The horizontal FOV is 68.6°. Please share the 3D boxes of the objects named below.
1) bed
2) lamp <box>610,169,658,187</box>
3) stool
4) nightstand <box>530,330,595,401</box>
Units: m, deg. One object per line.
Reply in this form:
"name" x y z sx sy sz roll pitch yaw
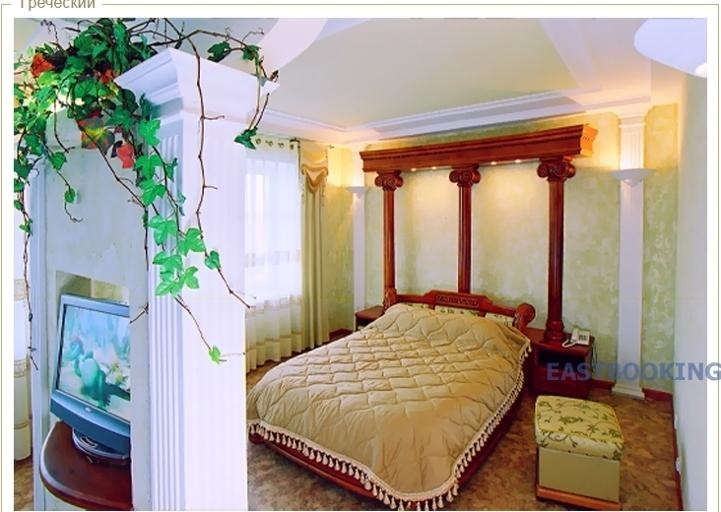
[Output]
"bed" 0.356 1.087 4.436 1.766 0.757 2.217 8 15 36
"lamp" 2.390 -0.690 4.652 0.336 0.168 0.337 4 14 25
"stool" 1.503 1.361 3.670 0.572 0.511 0.587 3 14 21
"nightstand" 1.833 1.021 4.951 0.702 0.719 0.503 -1 -3 27
